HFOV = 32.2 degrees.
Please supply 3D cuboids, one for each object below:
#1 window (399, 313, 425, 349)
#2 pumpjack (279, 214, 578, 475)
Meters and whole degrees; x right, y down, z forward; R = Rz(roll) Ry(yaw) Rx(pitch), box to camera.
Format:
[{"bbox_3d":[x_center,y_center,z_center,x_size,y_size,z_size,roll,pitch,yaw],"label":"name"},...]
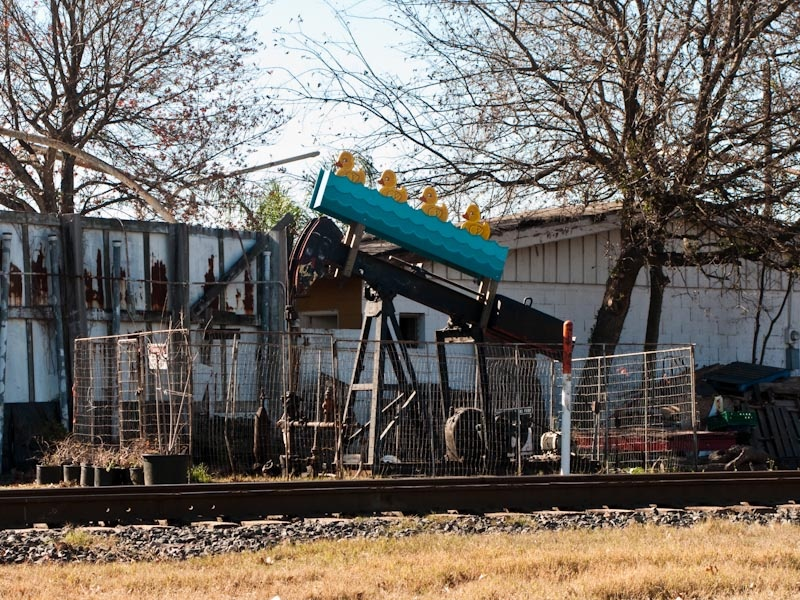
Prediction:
[{"bbox_3d":[0.310,0.700,31.206,0.631,1.021,0.656,0,2,-6],"label":"window"},{"bbox_3d":[0.656,0.920,26.171,5.453,4.702,1.863,3,12,3],"label":"pumpjack"}]
